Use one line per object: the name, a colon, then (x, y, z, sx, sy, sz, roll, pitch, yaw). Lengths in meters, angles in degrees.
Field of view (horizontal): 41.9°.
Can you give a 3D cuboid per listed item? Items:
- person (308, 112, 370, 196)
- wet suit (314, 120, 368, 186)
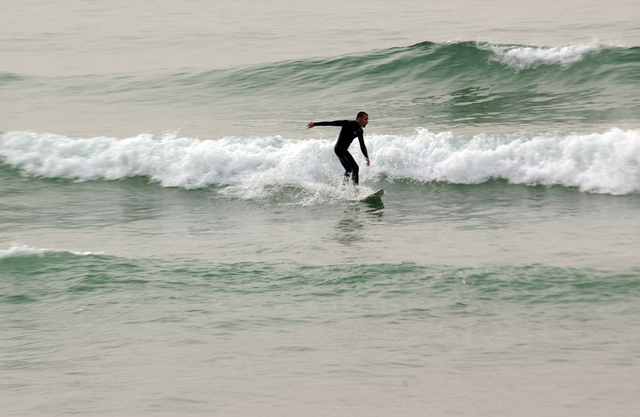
person: (0.801, -1.343, 20.691, 0.895, 2.078, 0.669, -5, 12, 1)
wet suit: (0.704, -1.372, 20.713, 0.988, 1.640, 0.631, -4, 11, 2)
